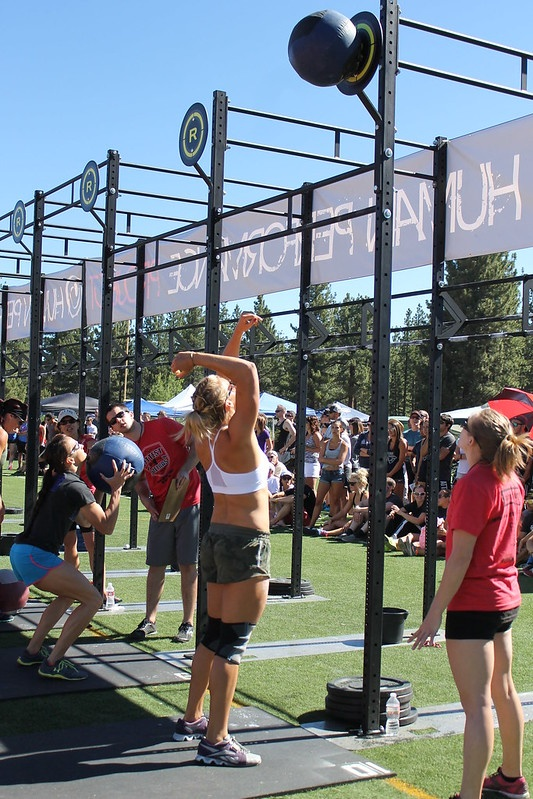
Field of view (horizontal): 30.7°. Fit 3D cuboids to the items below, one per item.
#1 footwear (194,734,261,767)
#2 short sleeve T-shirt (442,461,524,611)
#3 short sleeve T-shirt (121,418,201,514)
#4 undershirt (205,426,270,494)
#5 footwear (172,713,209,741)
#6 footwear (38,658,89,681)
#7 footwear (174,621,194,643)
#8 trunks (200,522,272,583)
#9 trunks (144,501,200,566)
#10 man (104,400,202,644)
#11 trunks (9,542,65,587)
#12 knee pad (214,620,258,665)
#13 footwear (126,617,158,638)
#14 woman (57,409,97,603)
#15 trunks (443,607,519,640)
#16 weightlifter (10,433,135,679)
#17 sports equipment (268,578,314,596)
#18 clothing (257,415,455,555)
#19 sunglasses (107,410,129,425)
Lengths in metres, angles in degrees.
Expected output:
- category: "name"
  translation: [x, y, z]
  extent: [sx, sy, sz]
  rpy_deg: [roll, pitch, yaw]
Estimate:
- category: "footwear"
  translation: [-0.181, 1.598, 4.442]
  extent: [0.321, 0.154, 0.120]
  rpy_deg: [4, -6, -3]
- category: "short sleeve T-shirt"
  translation: [0.892, 0.551, 3.846]
  extent: [0.336, 0.584, 0.138]
  rpy_deg: [2, -2, -22]
- category: "short sleeve T-shirt"
  translation: [-0.708, 0.442, 6.579]
  extent: [0.601, 0.758, 0.314]
  rpy_deg: [-10, -8, 21]
- category: "undershirt"
  translation: [-0.155, 0.269, 4.404]
  extent: [0.239, 0.275, 0.254]
  rpy_deg: [-3, 5, -35]
- category: "footwear"
  translation: [-0.349, 1.588, 4.747]
  extent: [0.095, 0.104, 0.233]
  rpy_deg: [-2, -2, 40]
- category: "footwear"
  translation: [-1.215, 1.601, 5.784]
  extent: [0.283, 0.144, 0.121]
  rpy_deg: [5, -5, -9]
- category: "footwear"
  translation: [-0.595, 1.659, 6.892]
  extent: [0.069, 0.083, 0.184]
  rpy_deg: [0, -7, 12]
- category: "trunks"
  translation: [-0.126, 0.677, 4.383]
  extent: [0.252, 0.272, 0.353]
  rpy_deg: [0, 0, -40]
- category: "trunks"
  translation: [-0.677, 0.959, 7.059]
  extent: [0.349, 0.489, 0.254]
  rpy_deg: [6, 7, 2]
- category: "man"
  translation: [-0.802, 0.854, 6.991]
  extent: [0.615, 1.729, 0.582]
  rpy_deg: [-6, -14, 10]
- category: "trunks"
  translation: [-1.356, 0.928, 5.686]
  extent: [0.226, 0.226, 0.320]
  rpy_deg: [-6, 7, -41]
- category: "knee pad"
  translation: [-0.162, 1.066, 4.276]
  extent: [0.177, 0.181, 0.159]
  rpy_deg: [1, -2, 23]
- category: "footwear"
  translation: [-0.895, 1.656, 6.980]
  extent: [0.082, 0.103, 0.232]
  rpy_deg: [0, -6, 25]
- category: "woman"
  translation: [-1.475, 0.843, 7.662]
  extent: [0.320, 0.943, 0.292]
  rpy_deg: [16, -43, -30]
- category: "trunks"
  translation: [0.861, 0.899, 3.852]
  extent: [0.298, 0.141, 0.188]
  rpy_deg: [2, -1, -1]
- category: "weightlifter"
  translation: [-1.228, 0.939, 5.833]
  extent: [0.595, 1.433, 0.831]
  rpy_deg: [3, -2, -31]
- category: "sports equipment"
  translation: [0.215, 1.702, 8.760]
  extent: [0.392, 0.136, 0.331]
  rpy_deg: [2, -1, 10]
- category: "clothing"
  translation: [1.072, 1.487, 12.890]
  extent: [2.320, 1.423, 1.090]
  rpy_deg: [11, -24, -15]
- category: "sunglasses"
  translation: [-1.071, 0.139, 7.106]
  extent: [0.114, 0.066, 0.158]
  rpy_deg: [-7, -17, 22]
